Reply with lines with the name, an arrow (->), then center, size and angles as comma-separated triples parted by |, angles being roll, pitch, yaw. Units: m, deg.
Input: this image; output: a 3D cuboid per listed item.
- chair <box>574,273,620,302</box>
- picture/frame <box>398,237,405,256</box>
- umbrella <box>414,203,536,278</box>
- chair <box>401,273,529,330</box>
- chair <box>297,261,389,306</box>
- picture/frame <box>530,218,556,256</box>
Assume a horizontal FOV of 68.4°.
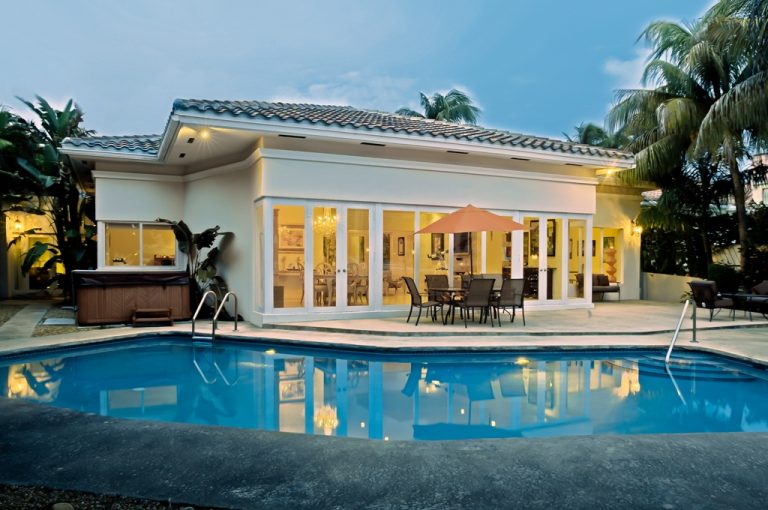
chair -> 6.797, 1.072, 18.193 | 0.964, 0.761, 0.562 | 0, -3, -15
picture/frame -> 0.461, -0.225, 14.901 | 0.223, 0.489, 0.112 | -1, -5, -1
umbrella -> 2.290, -0.384, 15.188 | 1.976, 1.378, 1.988 | -1, -1, 21
chair -> 2.107, 1.164, 14.208 | 2.792, 1.235, 2.151 | -2, -5, 11
chair -> -1.041, 0.810, 14.389 | 1.516, 1.112, 1.119 | 1, -4, -21
picture/frame -> 4.555, -0.485, 16.400 | 1.008, 1.386, 0.046 | 2, -5, -18
